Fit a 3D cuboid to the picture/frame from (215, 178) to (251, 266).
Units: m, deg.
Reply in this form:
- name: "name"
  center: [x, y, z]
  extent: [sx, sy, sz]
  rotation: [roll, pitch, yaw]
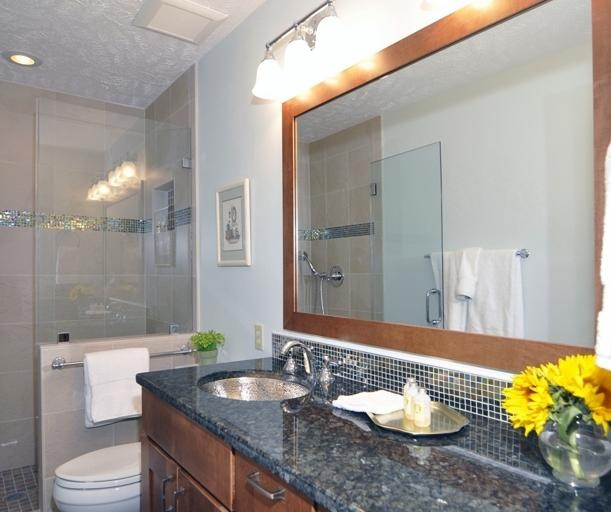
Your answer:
- name: "picture/frame"
  center: [-0.387, -0.182, 2.538]
  extent: [0.032, 0.549, 0.431]
  rotation: [2, -6, -33]

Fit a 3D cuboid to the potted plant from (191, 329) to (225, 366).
- name: "potted plant"
  center: [-0.553, 0.485, 2.539]
  extent: [0.210, 0.231, 0.189]
  rotation: [0, -9, 1]

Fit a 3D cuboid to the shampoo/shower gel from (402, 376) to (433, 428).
- name: "shampoo/shower gel"
  center: [0.305, 0.405, 1.288]
  extent: [0.077, 0.160, 0.105]
  rotation: [2, -9, -10]

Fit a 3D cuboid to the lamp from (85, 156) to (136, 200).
- name: "lamp"
  center: [-1.147, -0.446, 2.789]
  extent: [0.302, 0.238, 0.051]
  rotation: [-5, 5, -25]

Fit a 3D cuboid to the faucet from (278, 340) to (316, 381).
- name: "faucet"
  center: [-0.048, 0.398, 1.832]
  extent: [0.160, 0.249, 0.104]
  rotation: [2, -5, -5]

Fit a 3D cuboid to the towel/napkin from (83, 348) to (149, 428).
- name: "towel/napkin"
  center: [-0.960, 0.666, 2.346]
  extent: [0.375, 0.497, 0.191]
  rotation: [0, -3, -26]

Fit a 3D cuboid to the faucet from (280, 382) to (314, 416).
- name: "faucet"
  center: [-0.023, 0.481, 1.558]
  extent: [0.059, 0.048, 0.108]
  rotation: [-9, -10, 19]

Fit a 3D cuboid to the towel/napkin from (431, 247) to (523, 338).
- name: "towel/napkin"
  center: [0.534, 0.113, 1.414]
  extent: [0.079, 0.275, 0.248]
  rotation: [4, -6, -42]
